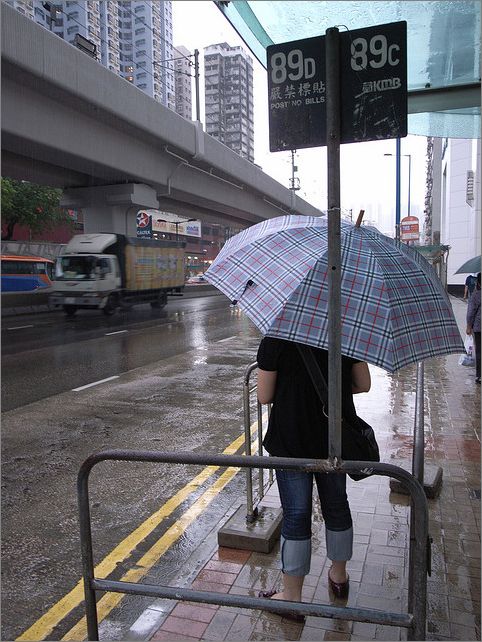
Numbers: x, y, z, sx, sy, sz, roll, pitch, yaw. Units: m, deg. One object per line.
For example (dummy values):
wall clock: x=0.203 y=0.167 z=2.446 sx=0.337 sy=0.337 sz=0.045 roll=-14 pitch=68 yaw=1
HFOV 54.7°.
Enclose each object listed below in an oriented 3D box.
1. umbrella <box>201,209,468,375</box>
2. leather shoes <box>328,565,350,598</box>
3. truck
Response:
umbrella: x=0.405 y=-0.166 z=2.026 sx=1.121 sy=0.642 sz=0.909 roll=-1 pitch=7 yaw=-4
leather shoes: x=0.512 y=1.372 z=2.438 sx=0.085 sy=0.086 sz=0.201 roll=-1 pitch=25 yaw=6
truck: x=-5.636 y=-2.491 z=24.315 sx=2.741 sy=3.898 sz=8.708 roll=2 pitch=8 yaw=24
